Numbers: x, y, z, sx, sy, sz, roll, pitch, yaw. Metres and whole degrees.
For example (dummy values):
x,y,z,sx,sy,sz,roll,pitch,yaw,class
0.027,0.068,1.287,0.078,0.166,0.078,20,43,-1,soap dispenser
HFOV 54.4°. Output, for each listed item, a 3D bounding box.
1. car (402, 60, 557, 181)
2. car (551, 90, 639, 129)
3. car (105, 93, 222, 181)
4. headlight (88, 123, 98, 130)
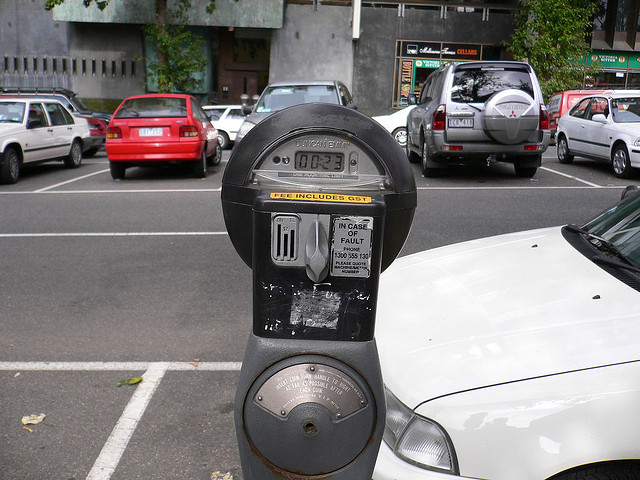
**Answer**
x,y,z,sx,sy,sz,roll,pitch,yaw,class
2.863,-2.133,11.423,2.522,2.367,2.502,5,22,14,car
7.099,-3.787,16.599,1.938,1.254,1.206,7,26,35,car
-2.936,-2.097,12.185,1.235,1.150,2.244,0,14,-1,car
-5.754,-2.856,15.700,0.187,0.209,0.322,-8,23,-17,headlight
